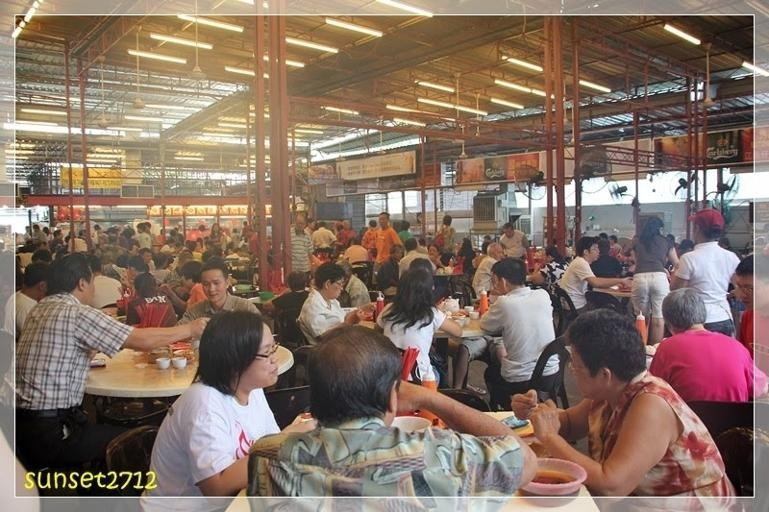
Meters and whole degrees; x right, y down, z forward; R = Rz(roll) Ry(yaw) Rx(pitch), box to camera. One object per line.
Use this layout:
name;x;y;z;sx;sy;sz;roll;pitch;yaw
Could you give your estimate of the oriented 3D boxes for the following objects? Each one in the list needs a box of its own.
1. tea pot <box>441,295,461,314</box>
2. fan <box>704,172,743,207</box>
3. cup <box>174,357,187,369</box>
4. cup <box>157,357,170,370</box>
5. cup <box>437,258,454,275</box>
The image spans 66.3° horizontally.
tea pot;0.728;0.533;6.382;0.163;0.128;0.160;-1;-4;0
fan;11.207;-2.267;19.435;0.926;1.351;3.138;0;4;31
cup;-1.537;0.807;4.458;0.083;0.054;0.082;-1;-5;0
cup;-1.653;0.804;4.429;0.082;0.073;0.087;-4;-7;-1
cup;1.209;0.188;11.313;0.291;0.359;0.371;2;-9;-7
